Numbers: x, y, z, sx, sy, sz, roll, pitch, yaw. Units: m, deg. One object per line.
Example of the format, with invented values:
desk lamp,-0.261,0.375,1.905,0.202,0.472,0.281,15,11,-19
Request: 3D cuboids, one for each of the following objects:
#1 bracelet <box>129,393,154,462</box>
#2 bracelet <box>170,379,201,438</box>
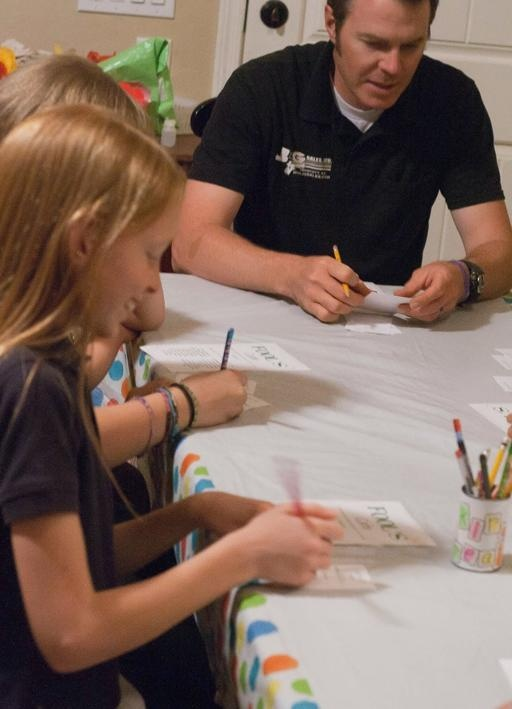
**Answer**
bracelet,-0.153,0.090,0.826,0.017,0.067,0.061,0,12,-31
bracelet,-0.092,0.070,0.846,0.017,0.055,0.050,-11,22,-20
